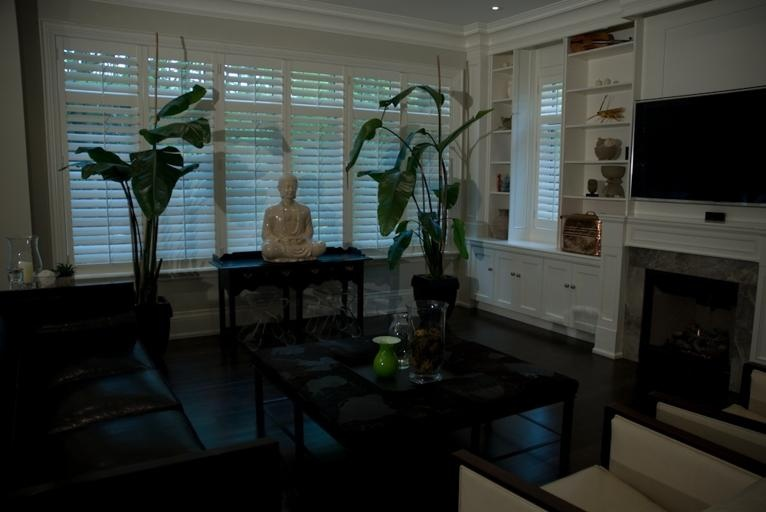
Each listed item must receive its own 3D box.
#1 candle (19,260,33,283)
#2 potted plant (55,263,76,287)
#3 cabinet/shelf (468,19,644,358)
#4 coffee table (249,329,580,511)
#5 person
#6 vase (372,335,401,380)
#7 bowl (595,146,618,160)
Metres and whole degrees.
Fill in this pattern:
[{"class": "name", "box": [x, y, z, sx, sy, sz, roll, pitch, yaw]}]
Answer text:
[{"class": "candle", "box": [-2.748, 0.119, 4.221, 0.065, 0.179, 0.103, 11, 17, 40]}, {"class": "potted plant", "box": [-2.662, 0.164, 4.571, 0.182, 0.179, 0.155, 0, 6, -22]}, {"class": "cabinet/shelf", "box": [1.960, -0.781, 5.882, 0.949, 3.117, 1.905, -8, 15, -33]}, {"class": "coffee table", "box": [0.085, 0.802, 3.521, 1.211, 0.500, 1.188, -3, 3, -34]}, {"class": "person", "box": [-0.915, -0.383, 5.505, 0.614, 0.830, 0.335, -2, 13, -12]}, {"class": "vase", "box": [0.021, 0.660, 3.531, 0.180, 0.238, 0.184, 5, 8, 33]}, {"class": "bowl", "box": [2.286, -1.036, 5.598, 0.159, 0.076, 0.156, 0, 2, 0]}]
